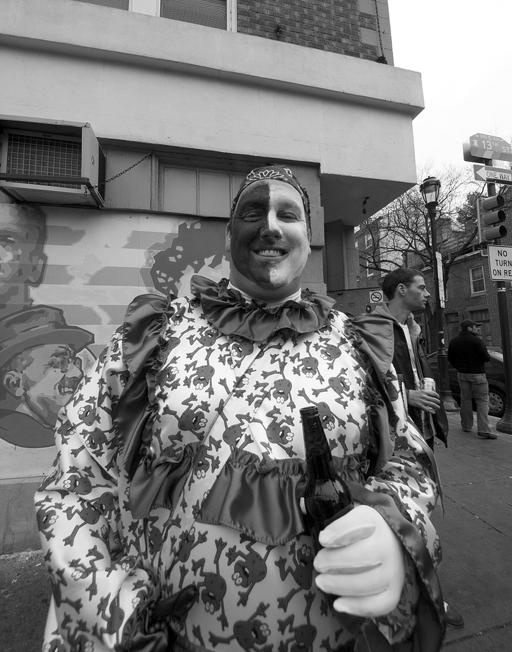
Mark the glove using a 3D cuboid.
[{"bbox_3d":[0.220,0.499,1.047,0.164,0.242,0.104,-3,-17,-14],"label":"glove"}]

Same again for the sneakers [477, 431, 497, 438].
[{"bbox_3d":[3.266,1.543,6.870,0.094,0.121,0.257,5,-12,-34],"label":"sneakers"}]

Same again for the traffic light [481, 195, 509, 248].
[{"bbox_3d":[3.359,-1.562,6.851,0.316,0.636,0.703,-2,-2,19],"label":"traffic light"}]

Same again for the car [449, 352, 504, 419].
[{"bbox_3d":[4.122,1.158,9.602,1.560,0.933,0.869,0,-7,22],"label":"car"}]

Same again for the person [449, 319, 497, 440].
[{"bbox_3d":[3.340,0.767,7.273,0.642,1.708,0.826,0,-2,-26],"label":"person"}]
